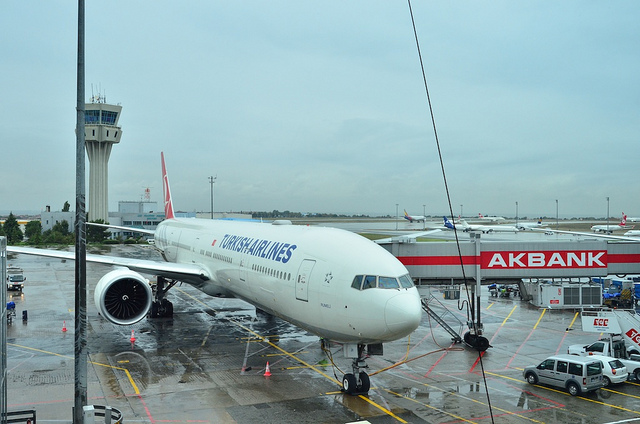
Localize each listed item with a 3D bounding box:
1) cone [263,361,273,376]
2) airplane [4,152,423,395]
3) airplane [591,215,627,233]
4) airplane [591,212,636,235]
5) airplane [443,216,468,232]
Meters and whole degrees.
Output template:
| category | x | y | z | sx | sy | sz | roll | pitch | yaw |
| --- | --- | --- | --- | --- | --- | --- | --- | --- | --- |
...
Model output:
| category | x | y | z | sx | sy | sz | roll | pitch | yaw |
| --- | --- | --- | --- | --- | --- | --- | --- | --- | --- |
| cone | -3.232 | 9.701 | 39.363 | 0.557 | 0.524 | 0.523 | 2 | 5 | 20 |
| airplane | -13.547 | 3.707 | 51.403 | 19.538 | 13.971 | 47.168 | -3 | 9 | -25 |
| airplane | 72.872 | 3.061 | 163.291 | 6.691 | 3.472 | 5.701 | 2 | 3 | 16 |
| airplane | 63.815 | 2.896 | 140.294 | 5.208 | 3.887 | 29.625 | 5 | 9 | 31 |
| airplane | 25.081 | 2.182 | 120.559 | 6.175 | 2.238 | 5.676 | 2 | 2 | -5 |
